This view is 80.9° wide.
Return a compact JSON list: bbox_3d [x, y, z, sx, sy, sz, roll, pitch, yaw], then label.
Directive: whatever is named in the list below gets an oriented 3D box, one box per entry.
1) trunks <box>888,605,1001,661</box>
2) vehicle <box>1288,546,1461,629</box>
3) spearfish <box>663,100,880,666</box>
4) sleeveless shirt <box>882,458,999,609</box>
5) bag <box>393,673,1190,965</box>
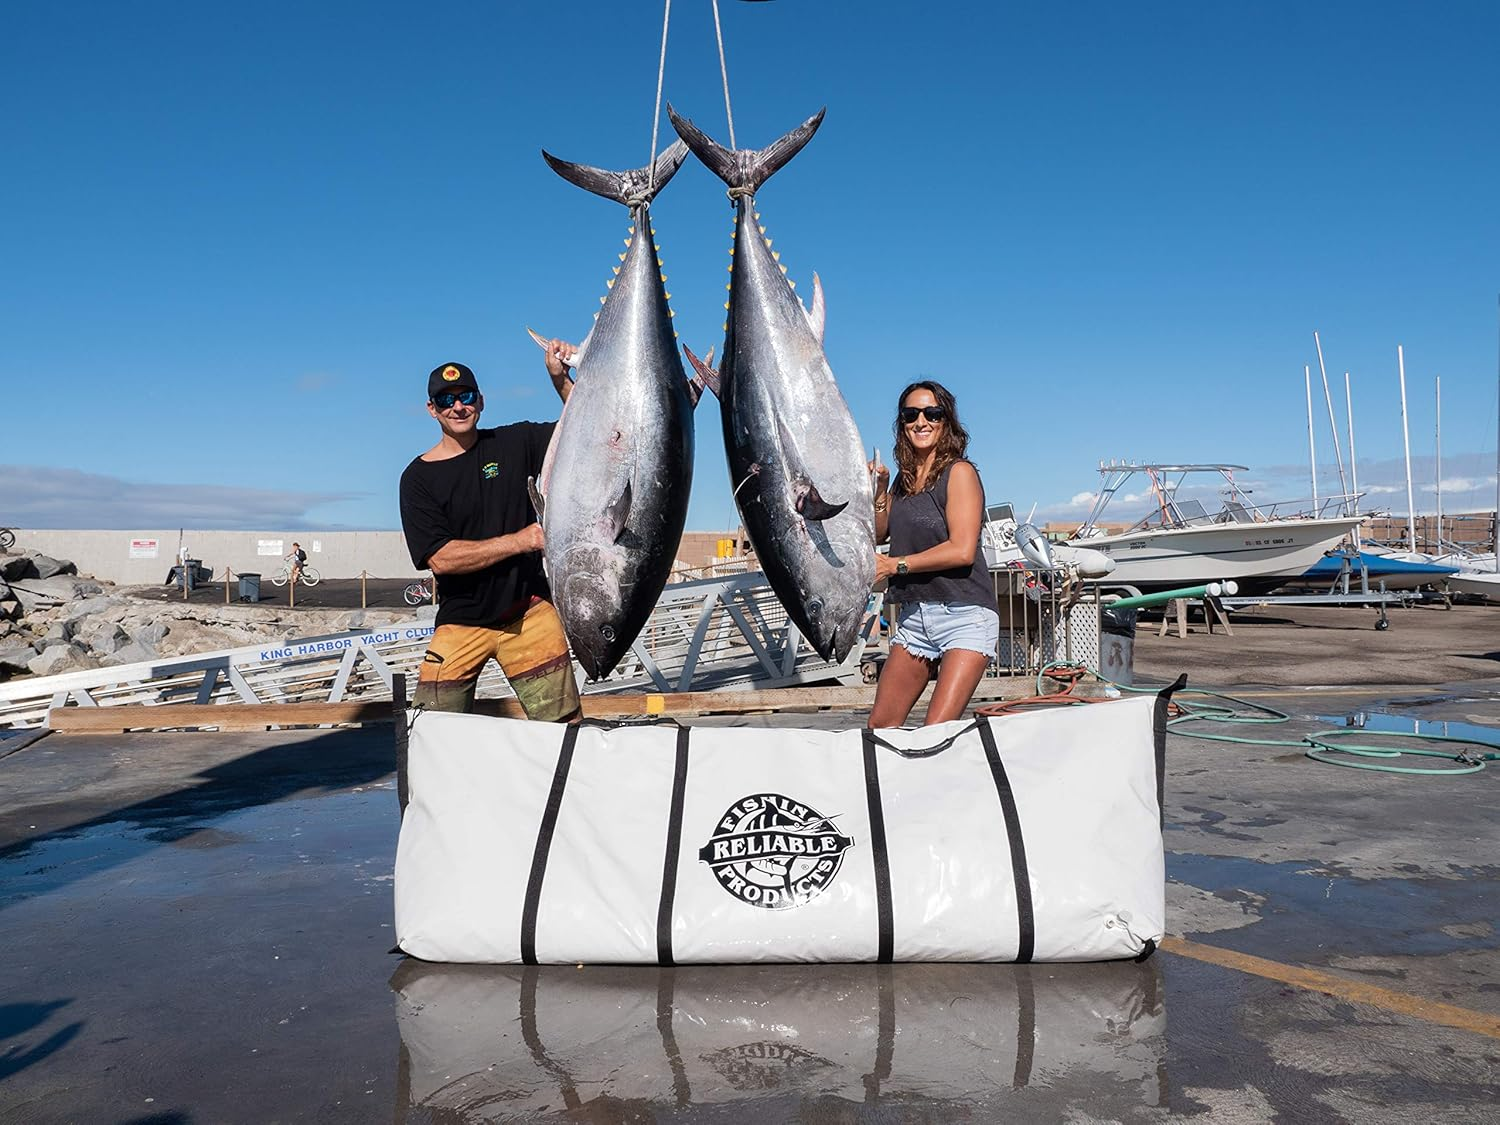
[{"bbox_3d":[0.812,0.273,3.628,0.362,0.187,0.256,-8,-29,37],"label":"trunks"},{"bbox_3d":[18.049,0.587,26.313,2.116,2.329,8.131,-7,-6,10],"label":"vehicle"},{"bbox_3d":[0.140,-0.720,3.623,0.736,2.245,0.391,0,0,21],"label":"spearfish"},{"bbox_3d":[0.768,-0.119,3.638,0.531,0.653,0.390,-10,-21,29],"label":"sleeveless shirt"},{"bbox_3d":[0.100,0.894,3.169,2.666,0.950,0.674,-1,2,4],"label":"bag"}]
